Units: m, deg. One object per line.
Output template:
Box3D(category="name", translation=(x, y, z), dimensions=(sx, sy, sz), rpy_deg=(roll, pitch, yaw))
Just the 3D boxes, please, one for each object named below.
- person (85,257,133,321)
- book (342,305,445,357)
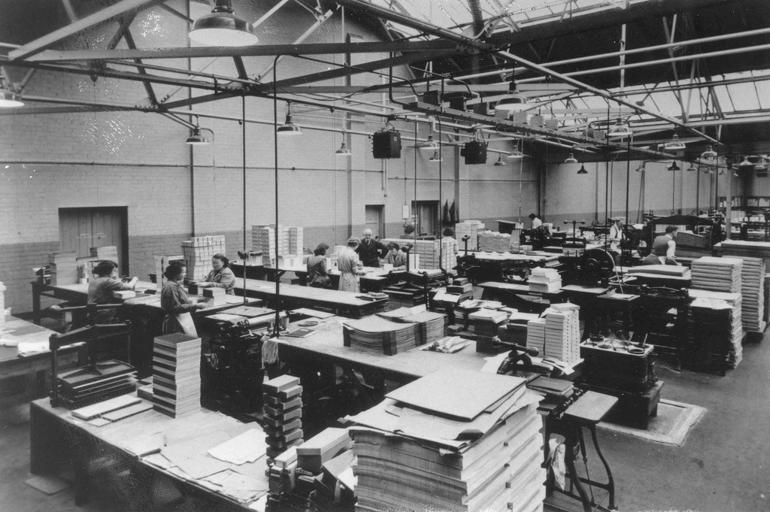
Box3D(category="person", translation=(-5.178, 0.643, 12.088), dimensions=(0.683, 1.385, 0.834), rpy_deg=(21, 24, 25))
Box3D(category="book", translation=(0.227, 1.071, 9.530), dimensions=(0.713, 0.305, 1.032), rpy_deg=(1, 5, 42))
